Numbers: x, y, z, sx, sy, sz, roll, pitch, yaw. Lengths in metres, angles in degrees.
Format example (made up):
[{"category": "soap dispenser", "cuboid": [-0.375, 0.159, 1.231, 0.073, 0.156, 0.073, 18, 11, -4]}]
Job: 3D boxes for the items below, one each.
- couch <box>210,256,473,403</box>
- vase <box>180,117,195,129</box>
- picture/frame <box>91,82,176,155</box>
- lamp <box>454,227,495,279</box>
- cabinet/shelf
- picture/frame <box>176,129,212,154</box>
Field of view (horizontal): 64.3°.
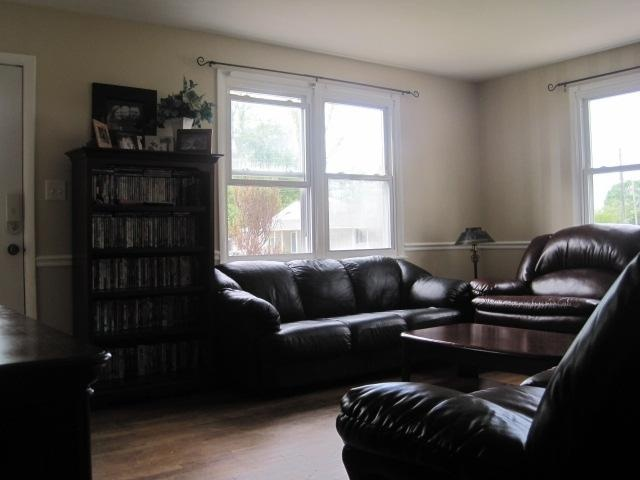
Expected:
[{"category": "couch", "cuboid": [0.258, 0.683, 4.534, 2.526, 1.070, 0.973, 1, -6, -41]}, {"category": "vase", "cuboid": [-1.098, -0.967, 4.202, 0.034, 0.095, 0.105, 5, 5, 41]}, {"category": "picture/frame", "cuboid": [-1.530, -0.975, 4.122, 0.678, 0.810, 0.058, 3, -15, -34]}, {"category": "lamp", "cuboid": [1.754, 0.247, 5.761, 0.453, 0.816, 0.387, -2, 2, 5]}, {"category": "cabinet/shelf", "cuboid": [-1.281, 0.215, 3.802, 0.891, 1.738, 0.466, -2, 1, -28]}, {"category": "picture/frame", "cuboid": [-1.016, -0.782, 4.090, 0.219, 0.171, 0.037, -1, -3, -5]}]
